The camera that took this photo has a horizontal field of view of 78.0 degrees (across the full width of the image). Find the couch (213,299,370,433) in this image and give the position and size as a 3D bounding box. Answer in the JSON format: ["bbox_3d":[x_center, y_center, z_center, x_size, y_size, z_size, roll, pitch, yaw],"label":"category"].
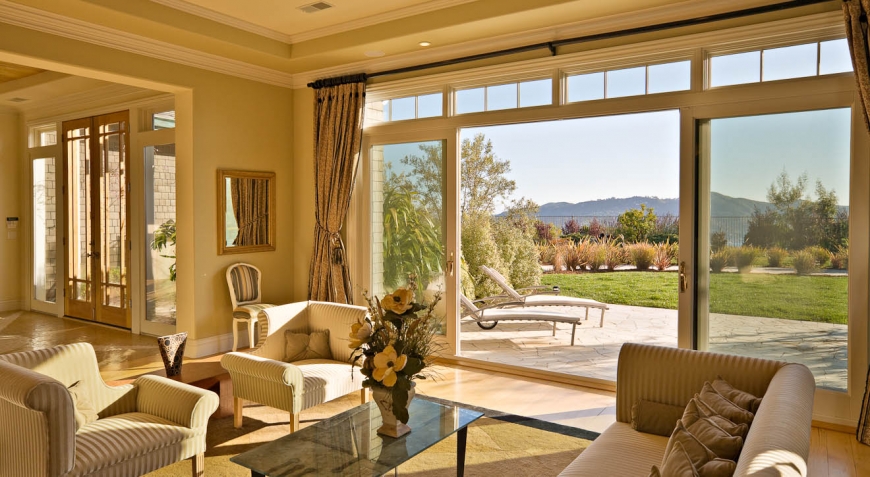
[{"bbox_3d":[-1.601,1.422,6.418,1.537,1.364,1.924,-1,0,33],"label":"couch"}]
